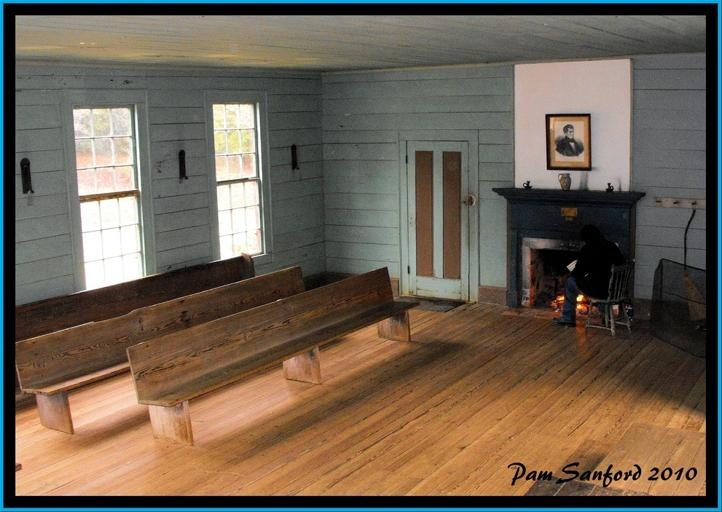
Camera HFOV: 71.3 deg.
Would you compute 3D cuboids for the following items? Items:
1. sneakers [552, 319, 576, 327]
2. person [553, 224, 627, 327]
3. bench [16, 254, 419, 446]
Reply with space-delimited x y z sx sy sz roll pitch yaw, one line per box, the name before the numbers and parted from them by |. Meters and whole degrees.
sneakers | 2.983 0.955 7.352 0.281 0.097 0.115 7 11 29
person | 3.182 0.306 6.981 0.811 1.482 0.347 3 16 23
bench | -1.376 0.965 5.538 1.453 1.106 3.704 10 16 44
